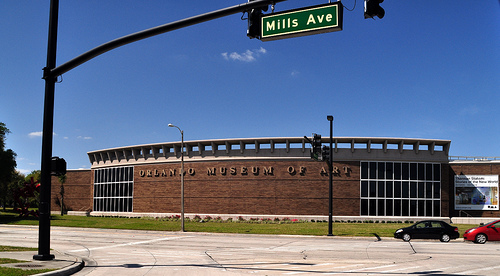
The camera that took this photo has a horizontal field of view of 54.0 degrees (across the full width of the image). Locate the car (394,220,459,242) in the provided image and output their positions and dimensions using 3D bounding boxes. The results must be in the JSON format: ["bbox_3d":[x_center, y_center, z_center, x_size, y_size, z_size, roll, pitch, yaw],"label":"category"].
[{"bbox_3d":[18.618,9.972,52.146,5.712,1.769,2.486,2,-8,7],"label":"car"}]

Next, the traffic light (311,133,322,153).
[{"bbox_3d":[7.147,0.598,52.938,1.065,2.043,1.006,-4,-11,18],"label":"traffic light"}]

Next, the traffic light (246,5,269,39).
[{"bbox_3d":[0.449,-8.234,34.987,1.191,2.430,0.522,0,-11,-2],"label":"traffic light"}]
